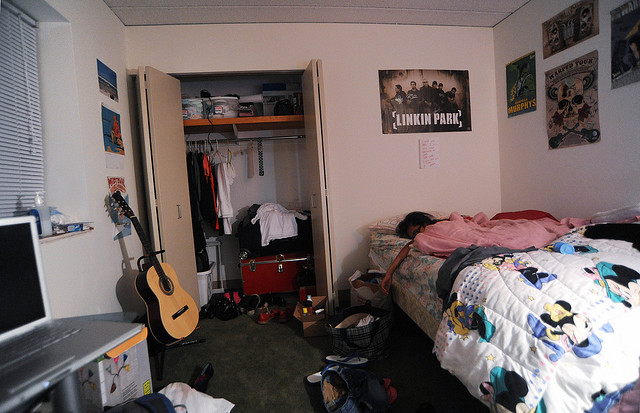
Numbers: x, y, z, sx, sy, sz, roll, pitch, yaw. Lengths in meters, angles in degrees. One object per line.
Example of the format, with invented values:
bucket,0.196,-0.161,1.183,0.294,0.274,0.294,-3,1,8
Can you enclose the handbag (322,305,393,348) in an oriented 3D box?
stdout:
handbag,0.398,1.065,3.739,0.486,0.229,0.396,2,-6,-35

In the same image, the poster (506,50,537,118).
poster,2.234,-1.340,4.624,0.039,0.628,0.396,-8,6,-19

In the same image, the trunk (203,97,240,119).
trunk,-1.154,-1.168,4.932,0.420,0.230,0.074,-7,6,-13

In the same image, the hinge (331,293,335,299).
hinge,0.137,0.930,4.361,0.045,0.084,0.046,0,5,2

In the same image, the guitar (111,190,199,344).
guitar,-1.548,0.563,3.824,0.198,1.457,0.579,-24,5,12

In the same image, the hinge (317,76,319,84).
hinge,-0.013,-1.278,4.262,0.008,0.063,0.013,-9,7,-32

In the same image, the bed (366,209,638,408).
bed,1.343,0.676,3.161,1.436,0.438,1.413,-7,13,-20

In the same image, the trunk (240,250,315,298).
trunk,-0.516,0.655,5.251,0.929,0.597,0.631,-2,21,-5
